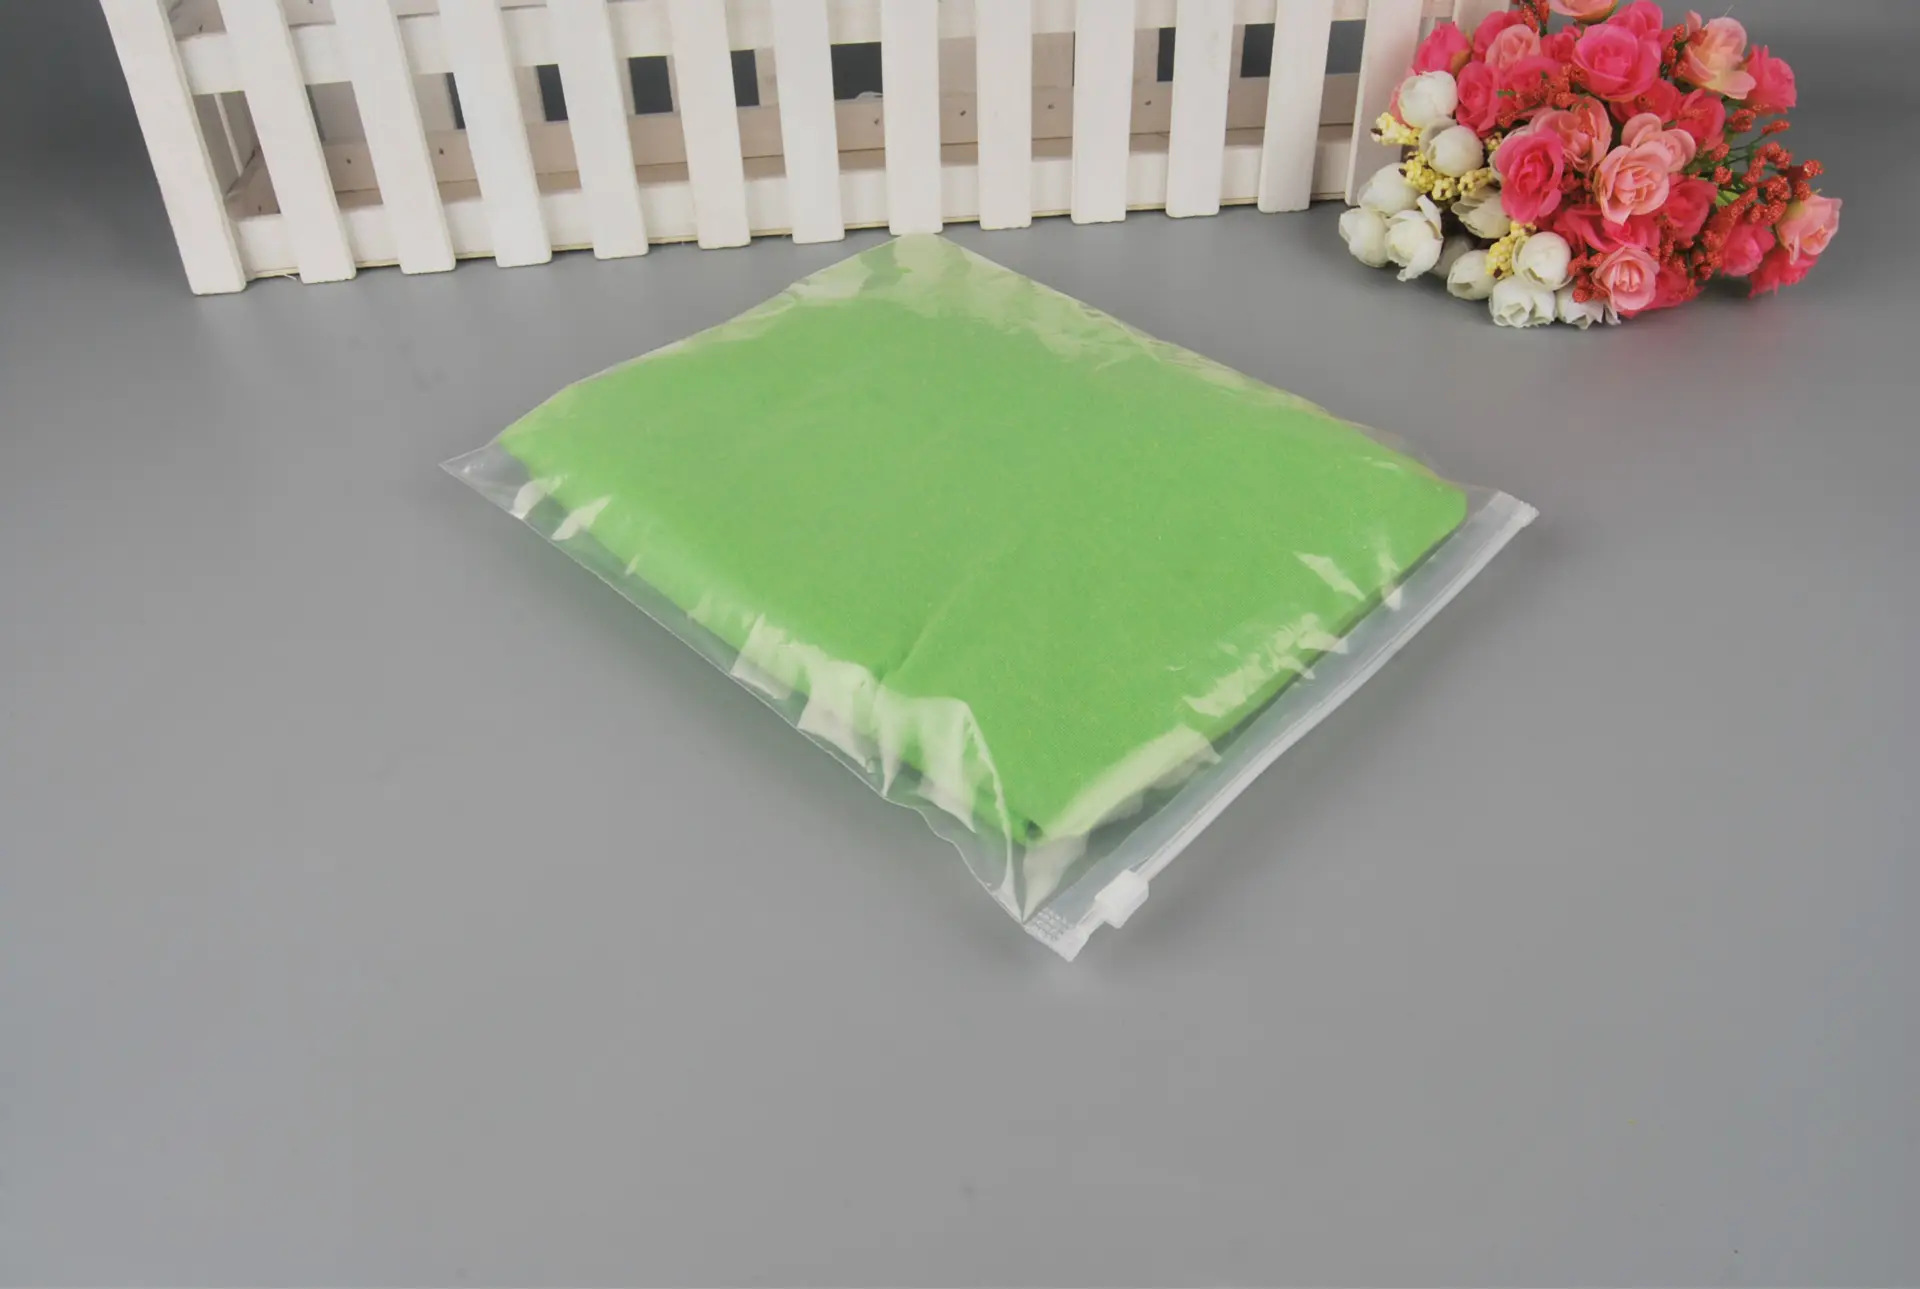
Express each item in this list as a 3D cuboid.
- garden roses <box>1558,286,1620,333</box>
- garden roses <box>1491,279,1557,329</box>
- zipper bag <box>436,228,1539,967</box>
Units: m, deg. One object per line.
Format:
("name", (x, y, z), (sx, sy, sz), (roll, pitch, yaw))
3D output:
("garden roses", (0.815, -0.441, 2.099), (0.066, 0.032, 0.050), (20, -15, -37))
("garden roses", (0.739, -0.448, 2.100), (0.062, 0.041, 0.068), (15, 39, 8))
("zipper bag", (0.029, -0.105, 1.702), (0.745, 0.151, 0.880), (-36, 58, -27))
